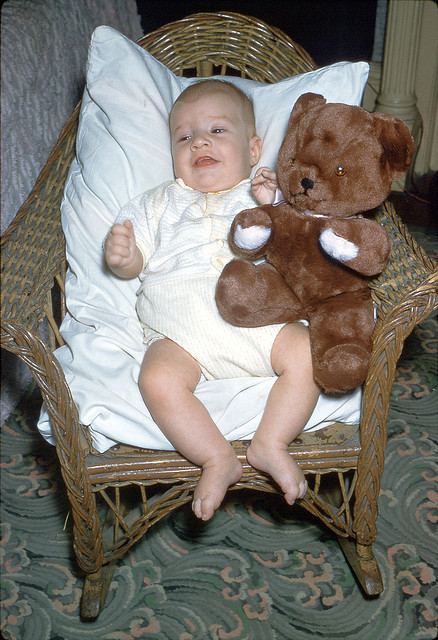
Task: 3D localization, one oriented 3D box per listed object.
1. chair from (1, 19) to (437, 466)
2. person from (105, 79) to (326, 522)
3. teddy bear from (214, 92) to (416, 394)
[{"bbox_3d":[-0.060,-0.124,1.689,1.099,0.480,1.164,1,59,1],"label":"chair"},{"bbox_3d":[-0.042,-0.084,1.404,0.474,0.413,0.953,3,52,-15],"label":"person"},{"bbox_3d":[0.194,-0.154,1.182,0.327,0.457,0.390,-25,42,-28],"label":"teddy bear"}]
